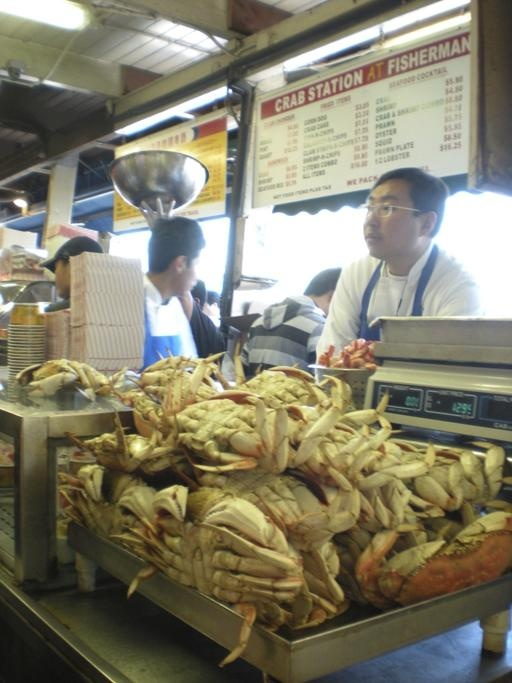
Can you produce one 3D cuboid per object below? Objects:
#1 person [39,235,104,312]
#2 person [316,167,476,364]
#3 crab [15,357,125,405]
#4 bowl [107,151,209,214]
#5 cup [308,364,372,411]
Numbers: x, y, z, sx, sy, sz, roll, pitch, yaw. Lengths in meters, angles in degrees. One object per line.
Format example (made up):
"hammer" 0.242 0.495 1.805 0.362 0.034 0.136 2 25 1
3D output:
"person" -0.874 -0.318 2.689 0.272 0.436 1.220 2 -2 -21
"person" 0.558 -0.195 2.165 0.579 0.883 0.590 -1 7 -43
"crab" -0.380 0.058 1.115 0.184 0.084 0.234 5 7 40
"bowl" -0.412 -0.674 2.482 0.488 0.150 0.459 2 -7 0
"cup" 0.179 0.091 1.229 0.137 0.083 0.167 -5 8 -39
